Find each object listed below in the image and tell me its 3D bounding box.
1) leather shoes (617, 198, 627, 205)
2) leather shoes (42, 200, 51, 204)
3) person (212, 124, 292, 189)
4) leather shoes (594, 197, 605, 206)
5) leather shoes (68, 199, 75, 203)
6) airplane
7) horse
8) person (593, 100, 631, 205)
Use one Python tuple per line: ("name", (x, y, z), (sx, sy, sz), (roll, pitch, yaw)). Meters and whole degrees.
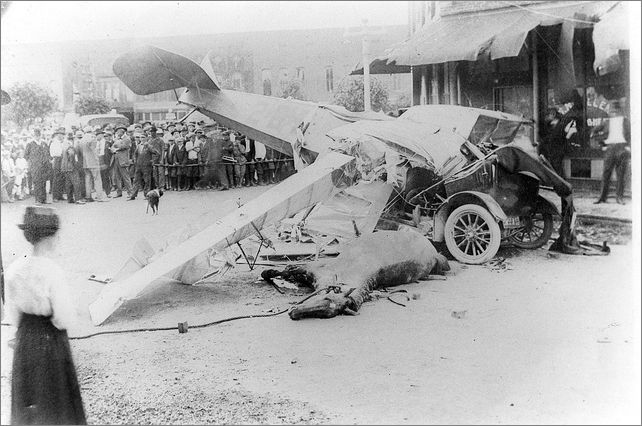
("leather shoes", (5.183, -0.187, 11.044), (0.143, 0.113, 0.136), (2, 5, 15))
("leather shoes", (-5.395, -0.210, 12.639), (0.156, 0.054, 0.303), (-1, 5, -26))
("person", (-1.704, -1.217, 15.331), (1.613, 1.375, 0.591), (21, 2, 3))
("leather shoes", (4.826, -0.194, 11.163), (0.216, 0.107, 0.181), (-2, 6, -32))
("leather shoes", (-4.878, -0.229, 12.494), (0.115, 0.071, 0.079), (-1, 5, -22))
("airplane", (0.521, -0.954, 10.206), (5.028, 1.372, 5.752), (22, 44, 32))
("horse", (0.500, 0.780, 8.817), (2.018, 1.047, 0.967), (-24, 11, -41))
("person", (5.218, -1.022, 11.484), (0.543, 1.682, 1.062), (3, 5, 22))
